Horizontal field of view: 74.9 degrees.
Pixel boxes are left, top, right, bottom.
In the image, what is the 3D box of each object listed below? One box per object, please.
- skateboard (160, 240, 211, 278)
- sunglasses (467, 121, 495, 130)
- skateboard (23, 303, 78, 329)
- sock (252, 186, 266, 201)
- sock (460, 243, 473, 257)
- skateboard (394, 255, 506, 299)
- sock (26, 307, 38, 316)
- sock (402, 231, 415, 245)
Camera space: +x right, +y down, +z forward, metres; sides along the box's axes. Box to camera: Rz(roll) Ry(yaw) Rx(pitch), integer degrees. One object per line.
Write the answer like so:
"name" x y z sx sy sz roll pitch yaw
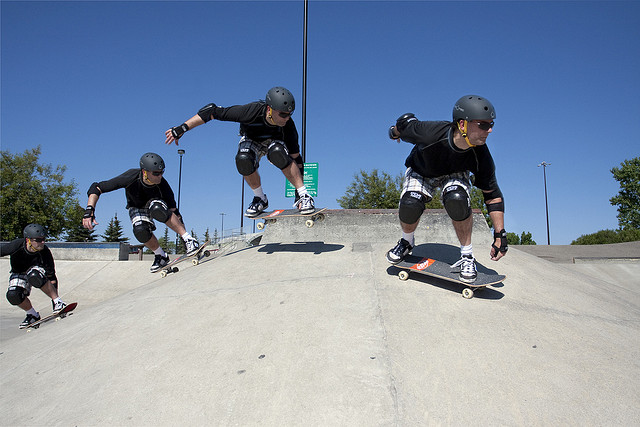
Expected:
"skateboard" -2.823 1.142 8.949 1.624 0.311 0.454 -26 20 25
"sunglasses" 2.083 -1.143 5.389 0.284 0.102 0.109 -5 0 20
"skateboard" -5.165 1.986 8.024 1.244 0.210 0.306 -32 17 26
"sock" -1.131 -0.374 7.898 0.182 0.246 0.321 -4 0 -9
"sock" 2.116 0.515 5.979 0.137 0.152 0.133 -2 -6 18
"skateboard" 1.814 0.928 5.940 1.164 0.213 0.326 11 18 36
"sock" -5.939 2.056 8.653 0.161 0.163 0.128 -19 -11 17
"sock" 1.377 0.384 6.415 0.202 0.179 0.125 -4 0 -18
